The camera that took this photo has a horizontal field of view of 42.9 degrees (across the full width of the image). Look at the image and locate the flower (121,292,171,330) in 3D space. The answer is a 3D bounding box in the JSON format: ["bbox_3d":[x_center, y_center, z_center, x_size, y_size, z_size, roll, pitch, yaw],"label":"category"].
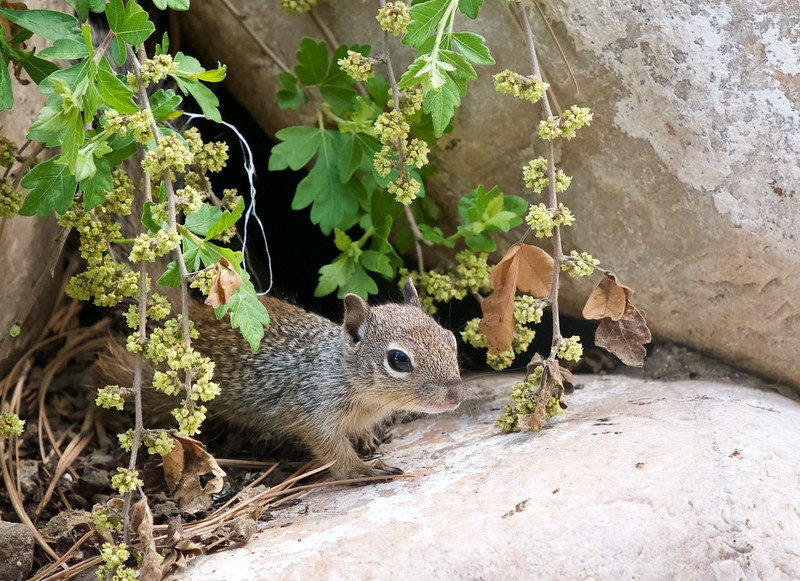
[{"bbox_3d":[-1.214,0.105,4.966,0.208,0.118,0.202,-18,42,-1],"label":"flower"}]

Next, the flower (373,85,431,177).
[{"bbox_3d":[-0.028,-0.835,5.437,0.224,0.496,0.280,3,15,-20],"label":"flower"}]

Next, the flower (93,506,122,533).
[{"bbox_3d":[-1.369,1.091,4.766,0.116,0.081,0.118,13,4,29],"label":"flower"}]

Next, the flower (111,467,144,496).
[{"bbox_3d":[-1.249,0.873,4.712,0.150,0.100,0.153,5,13,41],"label":"flower"}]

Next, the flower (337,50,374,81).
[{"bbox_3d":[-0.242,-1.146,5.362,0.199,0.206,0.084,-29,-40,28],"label":"flower"}]

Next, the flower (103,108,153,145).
[{"bbox_3d":[-1.269,-0.769,4.734,0.221,0.177,0.173,-10,14,-15],"label":"flower"}]

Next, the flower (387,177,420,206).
[{"bbox_3d":[0.016,-0.544,5.476,0.166,0.147,0.098,-6,13,0],"label":"flower"}]

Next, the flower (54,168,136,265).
[{"bbox_3d":[-1.506,-0.363,5.060,0.374,0.443,0.285,-11,14,-20],"label":"flower"}]

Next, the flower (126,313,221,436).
[{"bbox_3d":[-1.103,0.315,4.913,0.421,0.692,0.267,-17,4,-16],"label":"flower"}]

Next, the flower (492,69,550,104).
[{"bbox_3d":[0.608,-1.036,5.159,0.238,0.117,0.191,21,22,8],"label":"flower"}]

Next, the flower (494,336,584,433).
[{"bbox_3d":[0.716,0.483,5.382,0.477,0.534,0.405,-7,13,-5],"label":"flower"}]

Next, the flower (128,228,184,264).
[{"bbox_3d":[-1.128,-0.244,4.650,0.175,0.077,0.181,-11,24,35],"label":"flower"}]

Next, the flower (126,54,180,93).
[{"bbox_3d":[-1.180,-1.041,4.816,0.245,0.157,0.184,-10,14,-15],"label":"flower"}]

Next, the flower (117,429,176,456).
[{"bbox_3d":[-1.212,0.714,4.841,0.247,0.128,0.135,3,-1,9],"label":"flower"}]

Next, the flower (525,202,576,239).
[{"bbox_3d":[0.738,-0.362,5.181,0.208,0.180,0.184,-12,15,-24],"label":"flower"}]

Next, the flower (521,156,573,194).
[{"bbox_3d":[0.751,-0.604,5.336,0.229,0.145,0.230,-19,38,9],"label":"flower"}]

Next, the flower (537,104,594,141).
[{"bbox_3d":[0.878,-0.894,5.355,0.176,0.239,0.137,43,6,29],"label":"flower"}]

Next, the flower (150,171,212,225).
[{"bbox_3d":[-1.090,-0.456,5.004,0.332,0.175,0.198,-29,12,35],"label":"flower"}]

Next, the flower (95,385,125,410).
[{"bbox_3d":[-1.362,0.501,4.766,0.124,0.118,0.121,-11,14,-19],"label":"flower"}]
